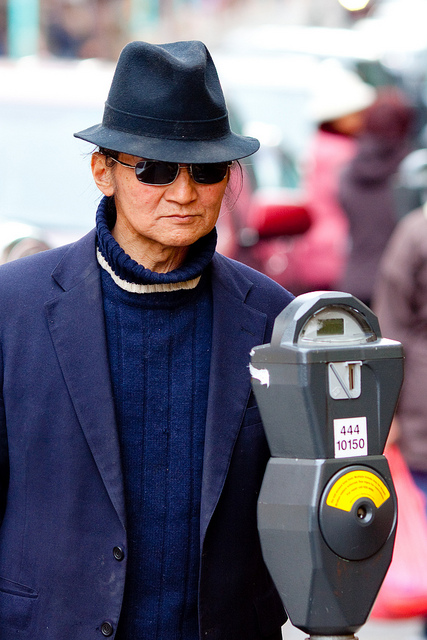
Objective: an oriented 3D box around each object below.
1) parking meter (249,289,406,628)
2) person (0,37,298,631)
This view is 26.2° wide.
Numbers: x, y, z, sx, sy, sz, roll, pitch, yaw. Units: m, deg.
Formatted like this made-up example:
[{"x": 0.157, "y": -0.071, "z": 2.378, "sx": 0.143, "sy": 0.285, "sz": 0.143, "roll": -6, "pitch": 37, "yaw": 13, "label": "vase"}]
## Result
[{"x": 0.228, "y": 0.267, "z": 1.759, "sx": 0.306, "sy": 0.562, "sz": 0.422, "roll": -1, "pitch": 33, "yaw": 2, "label": "parking meter"}, {"x": -0.162, "y": 0.072, "z": 2.009, "sx": 0.664, "sy": 1.205, "sz": 0.877, "roll": 1, "pitch": 33, "yaw": 5, "label": "person"}]
